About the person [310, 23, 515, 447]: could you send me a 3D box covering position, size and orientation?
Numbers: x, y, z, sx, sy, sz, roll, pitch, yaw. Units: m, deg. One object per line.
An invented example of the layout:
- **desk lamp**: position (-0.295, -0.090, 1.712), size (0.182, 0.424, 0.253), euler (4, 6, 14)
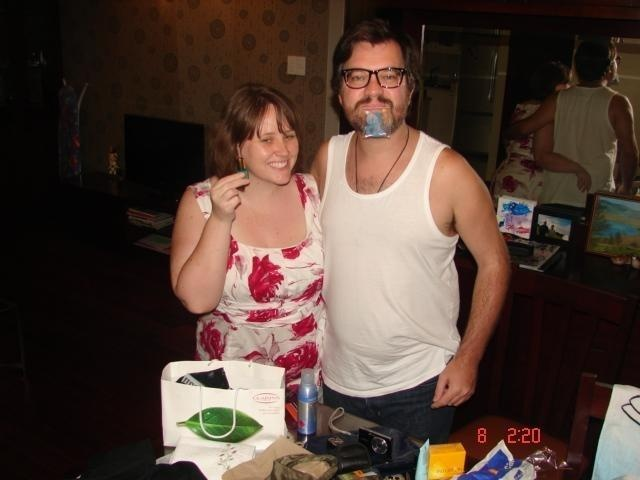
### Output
- **person**: position (0.282, -0.011, 1.798), size (0.741, 1.460, 0.313), euler (7, 13, 21)

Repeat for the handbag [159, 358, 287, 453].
- **handbag**: position (-0.269, 0.448, 1.440), size (0.357, 0.239, 0.204), euler (4, 30, -1)

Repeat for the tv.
- **tv**: position (-1.166, -0.557, 3.797), size (0.790, 0.819, 0.088), euler (8, 12, 35)

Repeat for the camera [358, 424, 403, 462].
- **camera**: position (0.160, 0.560, 1.413), size (0.096, 0.076, 0.059), euler (6, 3, 28)

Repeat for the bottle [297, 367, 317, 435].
- **bottle**: position (-0.037, 0.464, 1.488), size (0.057, 0.192, 0.083), euler (1, 12, -2)

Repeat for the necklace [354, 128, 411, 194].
- **necklace**: position (0.206, -0.256, 1.838), size (0.144, 0.284, 0.066), euler (5, -3, 10)

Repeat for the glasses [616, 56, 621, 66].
- **glasses**: position (1.478, -0.893, 2.526), size (0.027, 0.042, 0.011), euler (1, 7, 28)
